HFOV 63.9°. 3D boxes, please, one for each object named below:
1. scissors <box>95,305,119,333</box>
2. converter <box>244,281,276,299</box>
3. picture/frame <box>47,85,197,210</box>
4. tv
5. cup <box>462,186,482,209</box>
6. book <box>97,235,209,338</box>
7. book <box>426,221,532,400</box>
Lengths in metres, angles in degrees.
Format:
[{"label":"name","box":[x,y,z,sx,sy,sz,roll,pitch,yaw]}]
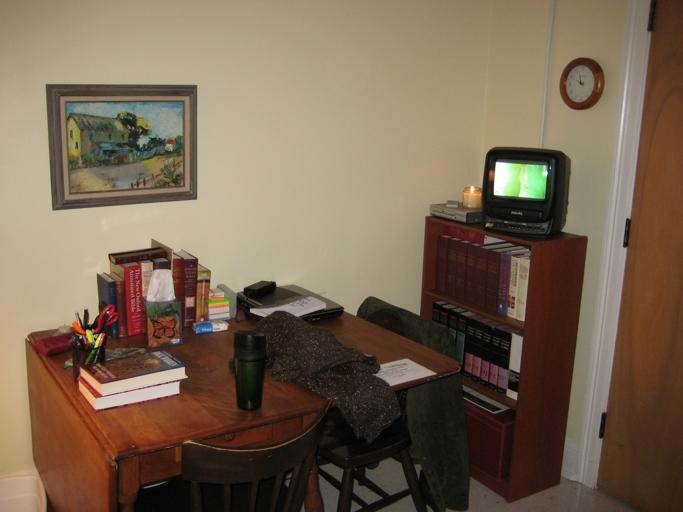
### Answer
[{"label":"scissors","box":[-0.989,0.269,2.312,0.050,0.076,0.115,28,-12,-12]},{"label":"converter","box":[-0.435,0.167,2.879,0.072,0.046,0.140,9,16,39]},{"label":"picture/frame","box":[-1.081,-0.537,2.618,0.569,0.511,0.042,-7,20,-30]},{"label":"tv","box":[1.018,-0.377,3.096,0.419,0.449,0.309,7,16,25]},{"label":"cup","box":[0.786,-0.359,3.316,0.119,0.140,0.118,1,4,0]},{"label":"book","box":[-0.878,0.093,2.640,0.499,0.525,0.389,-7,25,-39]},{"label":"book","box":[0.783,0.319,3.018,0.264,0.822,0.816,-5,17,-28]}]
